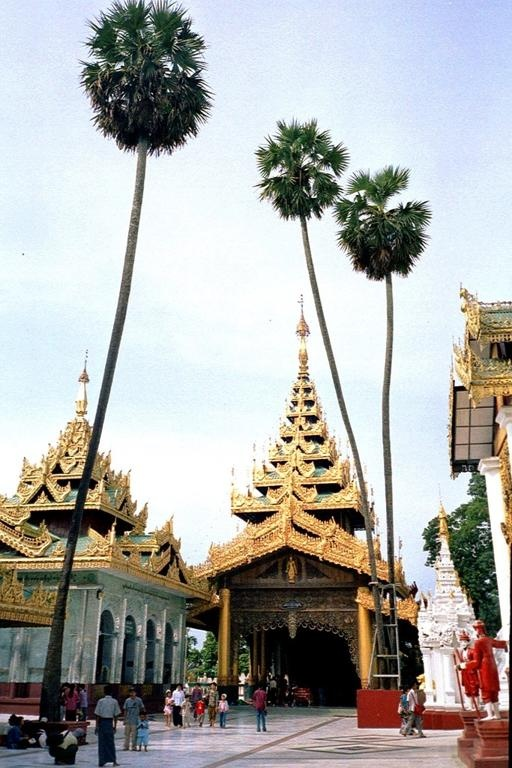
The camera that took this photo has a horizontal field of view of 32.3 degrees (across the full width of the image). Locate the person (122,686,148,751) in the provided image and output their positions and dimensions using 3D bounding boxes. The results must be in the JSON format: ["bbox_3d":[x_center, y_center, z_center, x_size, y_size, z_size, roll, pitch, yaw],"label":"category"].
[{"bbox_3d":[-2.276,6.158,16.336,0.333,1.035,1.364,4,-18,-8],"label":"person"}]

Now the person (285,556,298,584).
[{"bbox_3d":[1.349,6.928,33.100,0.357,0.972,0.424,-1,-19,7],"label":"person"}]

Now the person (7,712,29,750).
[{"bbox_3d":[-4.310,6.230,15.945,0.363,0.527,0.897,7,-19,-16],"label":"person"}]
